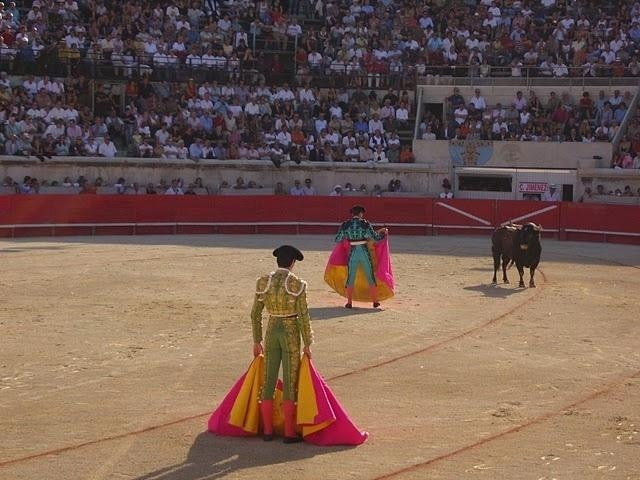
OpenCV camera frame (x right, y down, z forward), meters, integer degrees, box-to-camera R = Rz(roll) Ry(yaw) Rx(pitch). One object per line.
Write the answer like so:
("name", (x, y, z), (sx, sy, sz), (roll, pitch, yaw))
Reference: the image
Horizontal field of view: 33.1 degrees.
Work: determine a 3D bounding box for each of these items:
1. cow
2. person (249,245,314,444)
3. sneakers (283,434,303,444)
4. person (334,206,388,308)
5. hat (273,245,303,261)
("cow", (3.766, 0.282, 20.793), (0.742, 1.298, 1.065), (-5, 14, -20))
("person", (-0.482, 1.340, 14.052), (0.726, 2.437, 0.886), (-3, 14, -14))
("sneakers", (-0.342, 2.571, 13.934), (0.277, 0.118, 0.094), (-3, 5, -10))
("person", (0.723, 0.284, 18.774), (0.861, 1.863, 0.652), (1, 13, 1))
("hat", (-0.444, 0.194, 15.170), (0.325, 0.113, 0.335), (4, 0, 16))
